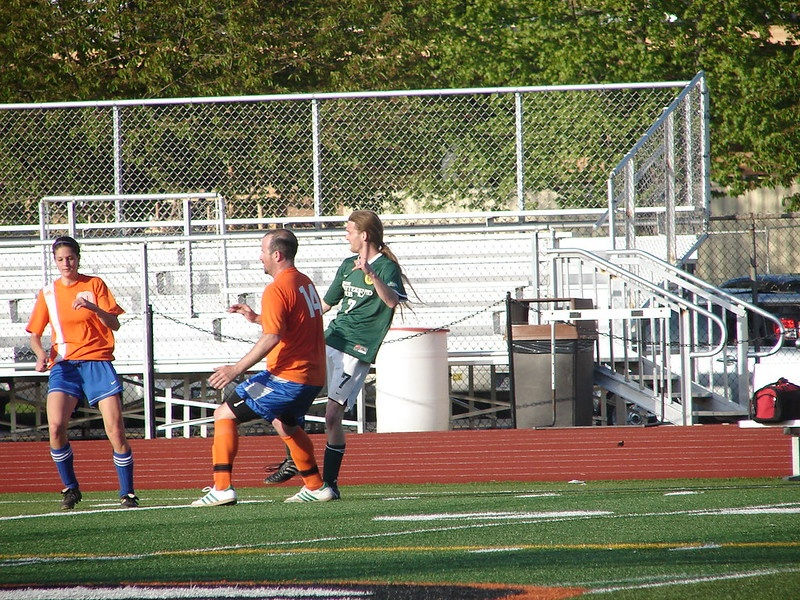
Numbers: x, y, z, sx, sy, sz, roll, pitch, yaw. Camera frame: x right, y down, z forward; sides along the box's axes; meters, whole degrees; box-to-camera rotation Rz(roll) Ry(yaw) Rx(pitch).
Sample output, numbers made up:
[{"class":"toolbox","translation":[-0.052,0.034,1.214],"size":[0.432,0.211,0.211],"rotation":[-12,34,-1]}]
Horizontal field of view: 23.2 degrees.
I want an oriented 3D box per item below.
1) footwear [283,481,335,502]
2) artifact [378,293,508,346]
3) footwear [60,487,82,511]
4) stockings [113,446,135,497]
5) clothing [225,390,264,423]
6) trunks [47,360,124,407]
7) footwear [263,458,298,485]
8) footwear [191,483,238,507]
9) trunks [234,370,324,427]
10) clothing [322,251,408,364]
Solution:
[{"class":"footwear","translation":[-1.330,2.841,29.166],"size":[0.781,0.294,0.271],"rotation":[-2,-8,6]},{"class":"artifact","translation":[0.759,0.329,32.834],"size":[2.594,0.404,0.230],"rotation":[-12,26,12]},{"class":"footwear","translation":[-4.915,2.931,29.101],"size":[0.233,0.251,0.327],"rotation":[-2,1,24]},{"class":"stockings","translation":[-4.130,2.568,29.164],"size":[0.261,0.555,0.242],"rotation":[-2,1,-8]},{"class":"clothing","translation":[-2.313,1.586,28.692],"size":[0.488,0.363,0.418],"rotation":[46,-4,-37]},{"class":"trunks","translation":[-4.693,1.469,29.103],"size":[1.161,0.891,0.598],"rotation":[0,-21,2]},{"class":"footwear","translation":[-1.817,2.626,30.062],"size":[0.635,0.294,0.212],"rotation":[-30,19,4]},{"class":"footwear","translation":[-2.743,2.888,28.860],"size":[0.736,0.310,0.271],"rotation":[-1,-6,2]},{"class":"trunks","translation":[-2.060,1.348,28.666],"size":[0.718,0.484,0.908],"rotation":[24,25,25]},{"class":"clothing","translation":[-0.478,0.174,29.706],"size":[1.349,1.483,0.850],"rotation":[23,0,19]}]
